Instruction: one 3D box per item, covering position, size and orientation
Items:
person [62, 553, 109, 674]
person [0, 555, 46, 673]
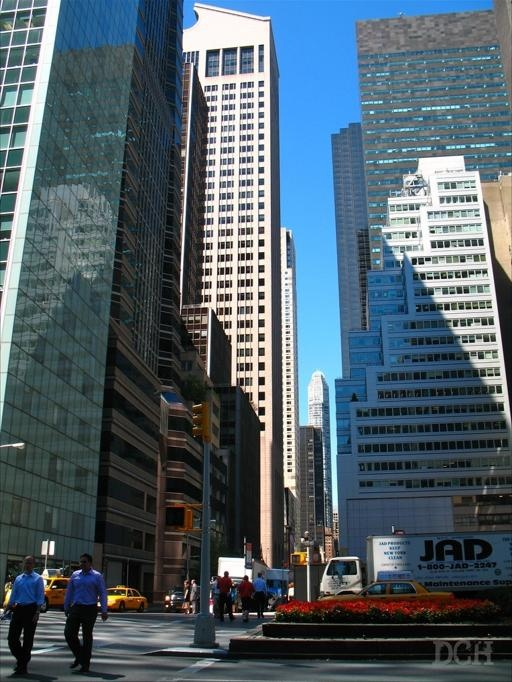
[{"bbox_3d":[-2.265,3.585,8.439,0.530,1.417,0.892,4,-17,-15],"label":"person"},{"bbox_3d":[-2.986,3.524,8.191,0.461,1.391,1.507,5,-17,-18],"label":"person"}]
